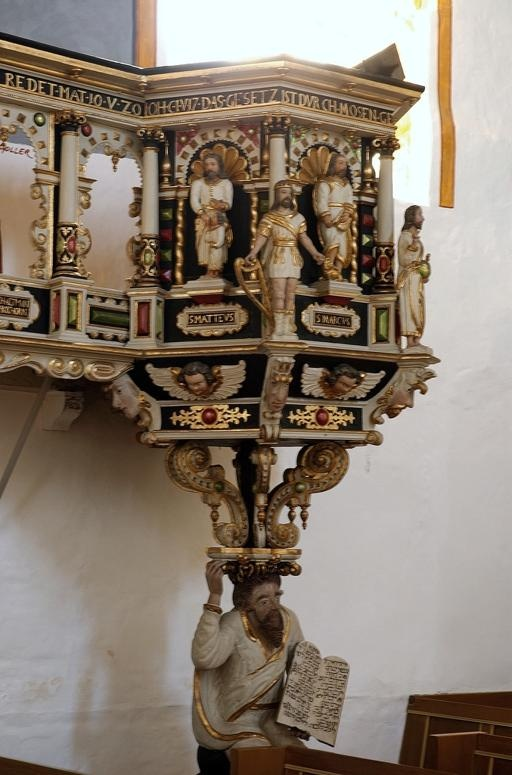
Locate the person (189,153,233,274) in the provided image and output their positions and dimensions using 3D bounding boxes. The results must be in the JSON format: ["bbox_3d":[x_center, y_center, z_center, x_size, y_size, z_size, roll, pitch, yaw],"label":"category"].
[{"bbox_3d":[-0.309,-1.138,7.826,0.292,0.818,0.240,6,3,11],"label":"person"}]

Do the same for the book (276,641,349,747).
[{"bbox_3d":[0.344,1.902,7.372,0.398,0.389,0.285,5,3,4],"label":"book"}]

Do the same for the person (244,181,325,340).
[{"bbox_3d":[0.142,-0.818,7.535,0.398,1.004,0.398,5,3,6],"label":"person"}]
